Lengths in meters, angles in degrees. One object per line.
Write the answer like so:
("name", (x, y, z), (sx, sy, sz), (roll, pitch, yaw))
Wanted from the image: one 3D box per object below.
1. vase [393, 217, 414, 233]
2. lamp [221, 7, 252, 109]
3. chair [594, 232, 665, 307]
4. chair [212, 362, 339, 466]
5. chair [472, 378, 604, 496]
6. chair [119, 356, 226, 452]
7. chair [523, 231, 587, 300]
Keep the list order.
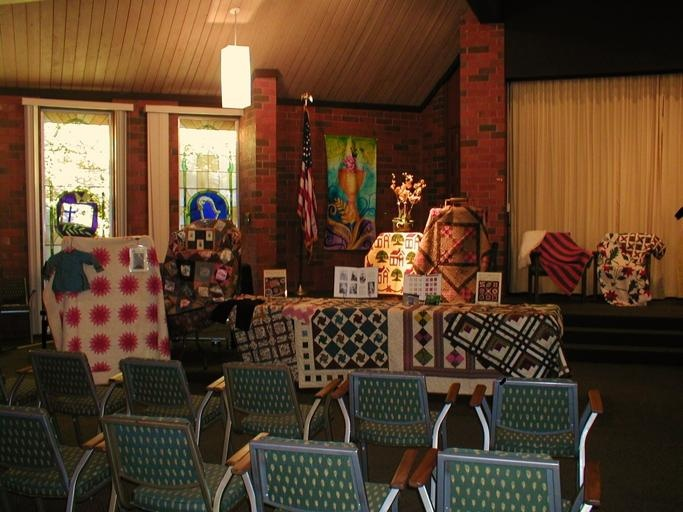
("vase", (0.730, -0.381, 7.123), (0.191, 0.147, 0.212), (1, 2, -19))
("lamp", (-1.106, -1.884, 6.100), (0.286, 0.642, 0.265), (0, 5, -13))
("chair", (3.938, 0.141, 8.221), (1.042, 1.204, 0.841), (0, -3, 37))
("chair", (-0.438, 0.920, 4.037), (0.668, 1.025, 0.713), (1, 8, 17))
("chair", (1.208, 0.977, 3.721), (0.797, 0.864, 0.640), (1, 1, 14))
("chair", (-1.140, 0.832, 3.992), (0.568, 0.903, 0.625), (2, 6, 12))
("chair", (2.908, 0.097, 7.958), (0.724, 0.847, 0.855), (0, 5, -4))
